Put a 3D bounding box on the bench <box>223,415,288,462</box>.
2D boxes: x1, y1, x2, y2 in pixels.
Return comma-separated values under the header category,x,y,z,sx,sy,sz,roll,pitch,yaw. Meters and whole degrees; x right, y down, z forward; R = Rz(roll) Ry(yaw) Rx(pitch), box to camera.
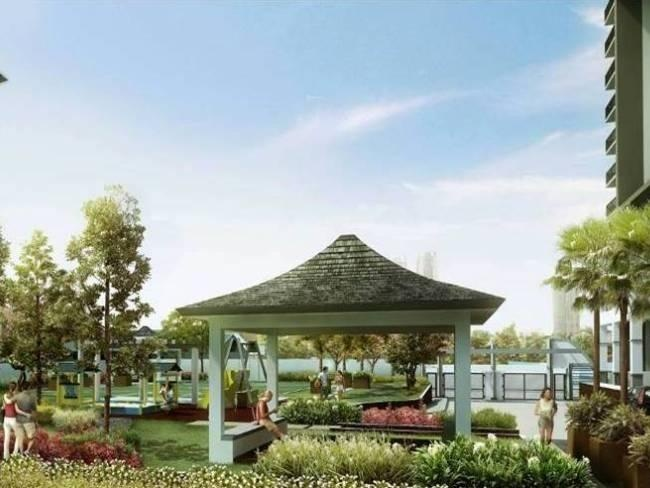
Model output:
category,x,y,z,sx,sy,sz,roll,pitch,yaw
bench,-2.536,6.241,19.029,0.915,1.087,2.700,-2,-14,12
